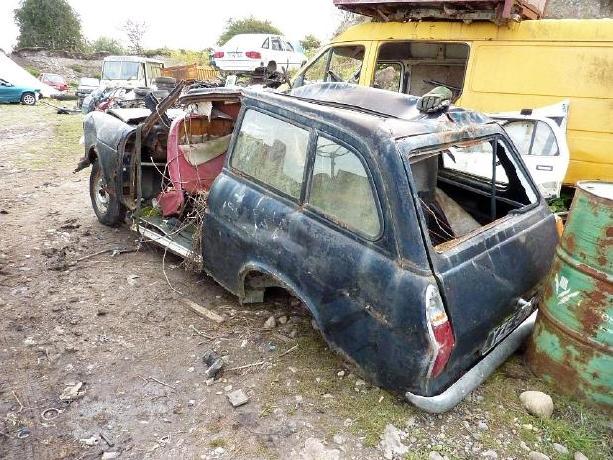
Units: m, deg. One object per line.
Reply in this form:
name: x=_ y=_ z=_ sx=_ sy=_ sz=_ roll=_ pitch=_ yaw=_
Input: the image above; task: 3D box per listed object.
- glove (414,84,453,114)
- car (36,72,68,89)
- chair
glove: x=1.102 y=-1.112 z=3.291 sx=0.229 sy=0.133 sz=0.321 roll=15 pitch=41 yaw=36
car: x=-17.766 y=-10.399 z=26.880 sx=1.441 sy=0.911 sz=2.677 roll=-14 pitch=29 yaw=-32
chair: x=-1.252 y=-0.916 z=5.025 sx=1.190 sy=1.226 sz=0.633 roll=-5 pitch=6 yaw=1
